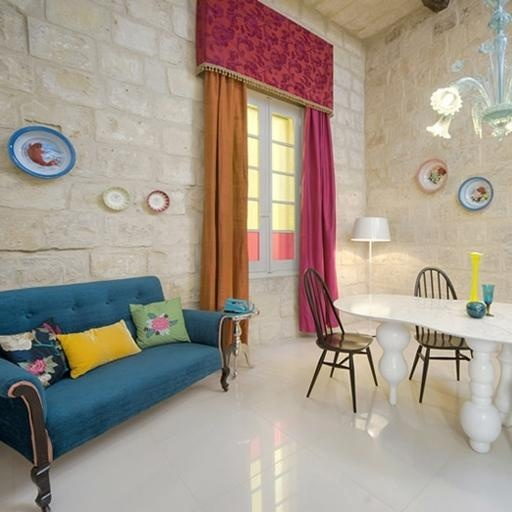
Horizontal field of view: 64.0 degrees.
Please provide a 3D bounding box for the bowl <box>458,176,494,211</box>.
[{"bbox_3d":[2.130,-0.602,3.925,0.072,0.291,0.288,0,24,-37],"label":"bowl"}]

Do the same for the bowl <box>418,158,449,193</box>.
[{"bbox_3d":[1.843,-0.839,4.262,0.099,0.343,0.336,-7,12,-27],"label":"bowl"}]

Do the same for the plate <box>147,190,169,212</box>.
[{"bbox_3d":[-0.777,-0.437,3.248,0.166,0.164,0.041,8,-2,-44],"label":"plate"}]

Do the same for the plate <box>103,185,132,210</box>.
[{"bbox_3d":[-1.039,-0.424,3.040,0.057,0.181,0.207,10,15,43],"label":"plate"}]

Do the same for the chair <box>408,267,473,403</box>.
[{"bbox_3d":[1.323,0.525,2.862,0.488,0.845,0.467,3,5,27],"label":"chair"}]

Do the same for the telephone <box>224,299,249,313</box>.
[{"bbox_3d":[-0.137,0.351,3.086,0.147,0.068,0.111,1,1,32],"label":"telephone"}]
